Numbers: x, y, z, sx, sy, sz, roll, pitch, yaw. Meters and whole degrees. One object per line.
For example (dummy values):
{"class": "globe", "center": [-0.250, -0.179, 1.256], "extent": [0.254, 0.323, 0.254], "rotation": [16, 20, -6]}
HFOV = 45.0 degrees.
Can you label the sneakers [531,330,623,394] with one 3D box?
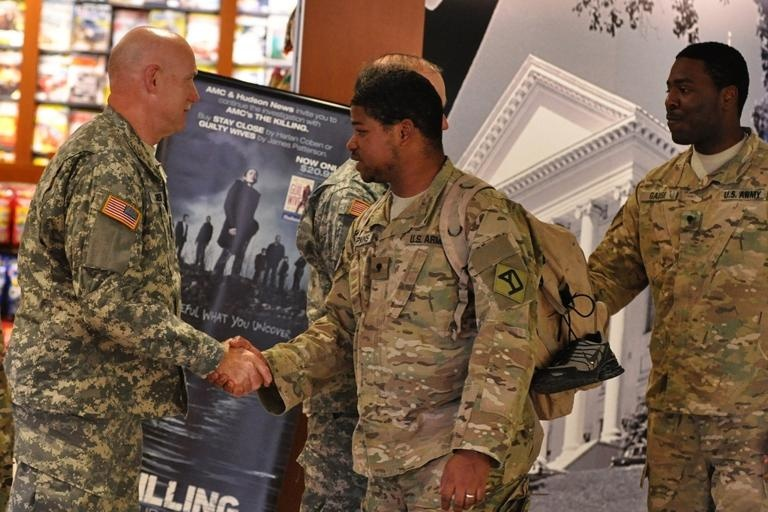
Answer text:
{"class": "sneakers", "center": [0.801, 0.449, 3.923], "extent": [0.476, 0.203, 0.172], "rotation": [-14, -6, -8]}
